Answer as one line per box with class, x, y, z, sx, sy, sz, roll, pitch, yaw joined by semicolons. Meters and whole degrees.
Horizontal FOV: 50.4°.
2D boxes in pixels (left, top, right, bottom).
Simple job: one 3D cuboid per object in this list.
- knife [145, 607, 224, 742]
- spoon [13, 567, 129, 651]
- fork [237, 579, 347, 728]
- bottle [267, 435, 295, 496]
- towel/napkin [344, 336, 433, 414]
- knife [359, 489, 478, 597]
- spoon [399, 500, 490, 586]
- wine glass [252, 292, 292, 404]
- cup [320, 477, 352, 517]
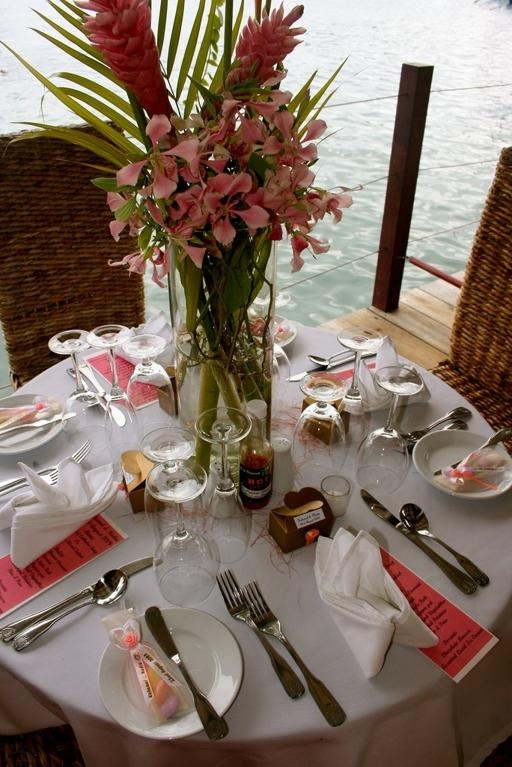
knife;-0.088;0.274;0.627;0.040;0.013;0.269;-1;22;-22
spoon;-0.218;0.278;0.718;0.046;0.028;0.194;23;30;35
fork;0.025;0.312;0.684;0.041;0.035;0.296;2;27;-23
bottle;0.039;0.138;0.873;0.042;0.067;0.042;-1;10;0
towel/napkin;0.257;-0.019;1.086;0.052;0.183;0.151;31;55;-12
knife;0.212;0.205;0.861;0.047;0.026;0.332;5;20;-27
spoon;0.268;0.233;0.795;0.040;0.028;0.191;-10;22;-11
wine glass;0.019;-0.052;0.903;0.059;0.189;0.027;-7;22;-9
cup;0.112;0.167;0.836;0.053;0.061;0.054;-1;36;1
